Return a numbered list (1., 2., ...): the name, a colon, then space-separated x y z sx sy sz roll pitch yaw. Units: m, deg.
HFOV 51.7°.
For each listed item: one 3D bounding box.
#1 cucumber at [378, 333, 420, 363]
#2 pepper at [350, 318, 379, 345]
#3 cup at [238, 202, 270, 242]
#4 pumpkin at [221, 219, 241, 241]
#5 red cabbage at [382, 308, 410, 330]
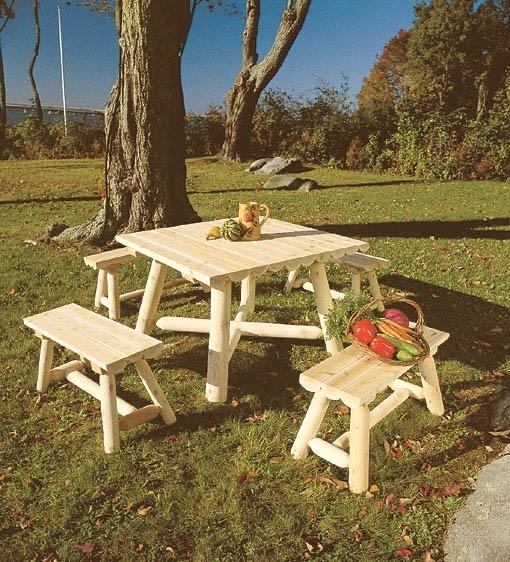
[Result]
1. cucumber: 0.915 0.425 3.318 0.108 0.051 0.193 -44 46 -7
2. pepper: 0.714 0.339 3.433 0.148 0.100 0.164 -12 53 12
3. cup: -0.015 -0.501 4.414 0.293 0.345 0.254 -7 18 -27
4. pumpkin: -0.198 -0.429 4.444 0.180 0.154 0.106 22 8 39
5. red cabbage: 0.982 0.251 3.588 0.153 0.084 0.119 33 -10 -5
